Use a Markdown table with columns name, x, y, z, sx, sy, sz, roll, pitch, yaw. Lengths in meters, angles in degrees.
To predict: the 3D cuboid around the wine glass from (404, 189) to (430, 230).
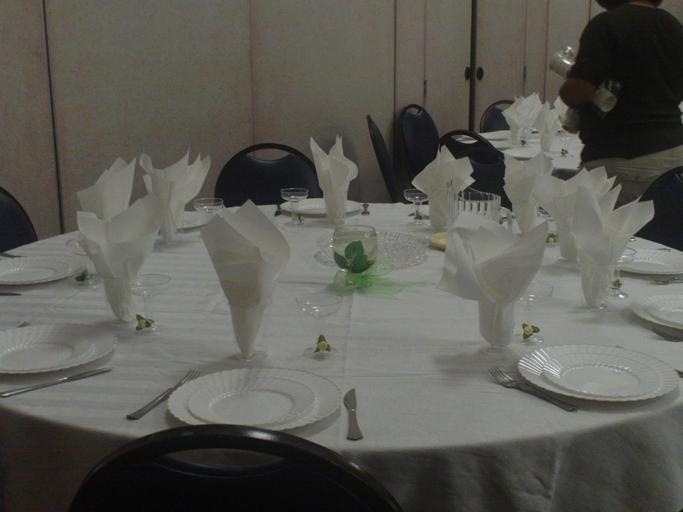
| name | x | y | z | sx | sy | sz | roll | pitch | yaw |
| --- | --- | --- | --- | --- | --- | --- | --- | --- | --- |
| wine glass | 0.300 | -0.203 | 2.207 | 0.143 | 0.169 | 0.160 | -2 | 16 | 0 |

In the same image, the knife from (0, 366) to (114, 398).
| name | x | y | z | sx | sy | sz | roll | pitch | yaw |
| --- | --- | --- | --- | --- | --- | --- | --- | --- | --- |
| knife | -0.541 | 0.240 | 1.020 | 0.154 | 0.009 | 0.023 | -8 | 30 | -33 |

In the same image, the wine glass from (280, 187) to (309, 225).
| name | x | y | z | sx | sy | sz | roll | pitch | yaw |
| --- | --- | --- | --- | --- | --- | --- | --- | --- | --- |
| wine glass | -0.180 | -0.202 | 2.142 | 0.133 | 0.171 | 0.141 | 1 | 13 | 4 |

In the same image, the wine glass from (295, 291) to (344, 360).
| name | x | y | z | sx | sy | sz | roll | pitch | yaw |
| --- | --- | --- | --- | --- | --- | --- | --- | --- | --- |
| wine glass | -0.052 | 0.155 | 1.269 | 0.106 | 0.149 | 0.112 | 5 | 18 | 12 |

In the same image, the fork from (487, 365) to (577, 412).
| name | x | y | z | sx | sy | sz | roll | pitch | yaw |
| --- | --- | --- | --- | --- | --- | --- | --- | --- | --- |
| fork | 0.339 | 0.241 | 0.980 | 0.066 | 0.013 | 0.178 | -14 | 21 | -26 |

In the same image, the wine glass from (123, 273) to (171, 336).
| name | x | y | z | sx | sy | sz | roll | pitch | yaw |
| --- | --- | --- | --- | --- | --- | --- | --- | --- | --- |
| wine glass | -0.477 | 0.112 | 1.319 | 0.121 | 0.160 | 0.121 | 8 | 19 | -4 |

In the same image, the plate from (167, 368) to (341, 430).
| name | x | y | z | sx | sy | sz | roll | pitch | yaw |
| --- | --- | --- | --- | --- | --- | --- | --- | --- | --- |
| plate | -0.148 | 0.244 | 0.943 | 0.295 | 0.033 | 0.190 | -2 | 19 | 7 |
